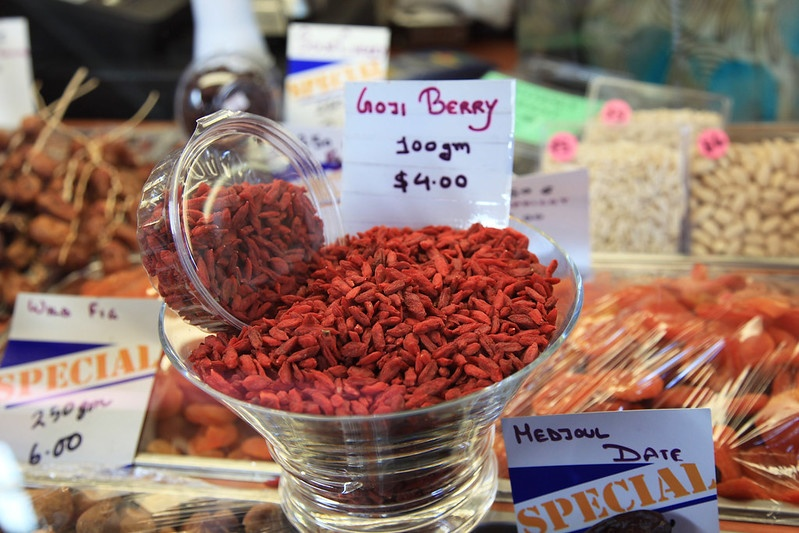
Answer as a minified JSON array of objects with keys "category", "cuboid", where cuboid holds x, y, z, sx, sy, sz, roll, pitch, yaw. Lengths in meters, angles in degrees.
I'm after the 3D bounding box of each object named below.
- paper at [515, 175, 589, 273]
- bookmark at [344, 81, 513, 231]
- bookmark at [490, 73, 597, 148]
[{"category":"paper","cuboid":[0.351,-0.095,1.438,0.229,0.231,0.024,4,15,26]},{"category":"bookmark","cuboid":[0.057,-0.227,1.365,0.361,0.335,0.038,0,-5,-5]},{"category":"bookmark","cuboid":[0.373,-0.374,1.657,0.304,0.180,0.082,20,13,37]}]
